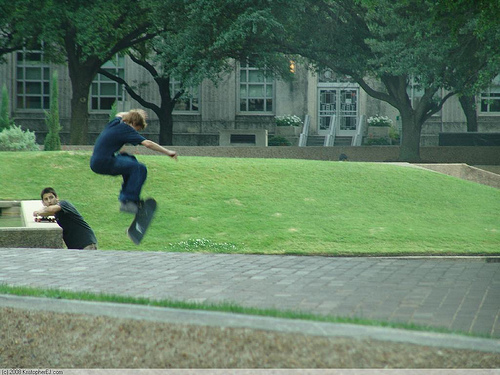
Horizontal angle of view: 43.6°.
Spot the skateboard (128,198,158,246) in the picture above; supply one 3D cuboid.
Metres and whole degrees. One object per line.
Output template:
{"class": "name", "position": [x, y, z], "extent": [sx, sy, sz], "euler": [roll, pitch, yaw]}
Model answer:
{"class": "skateboard", "position": [-2.153, 0.631, 12.551], "extent": [0.373, 1.188, 0.196], "euler": [31, 30, 3]}

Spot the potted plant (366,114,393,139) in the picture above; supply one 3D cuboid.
{"class": "potted plant", "position": [7.727, -3.538, 37.413], "extent": [1.618, 1.487, 1.682], "euler": [1, -3, 39]}

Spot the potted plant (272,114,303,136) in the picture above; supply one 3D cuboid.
{"class": "potted plant", "position": [2.335, -3.727, 37.765], "extent": [1.812, 1.281, 1.267], "euler": [1, -1, 0]}

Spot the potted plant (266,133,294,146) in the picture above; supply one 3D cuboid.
{"class": "potted plant", "position": [1.538, -2.865, 35.163], "extent": [1.096, 0.543, 1.077], "euler": [1, -1, -18]}
